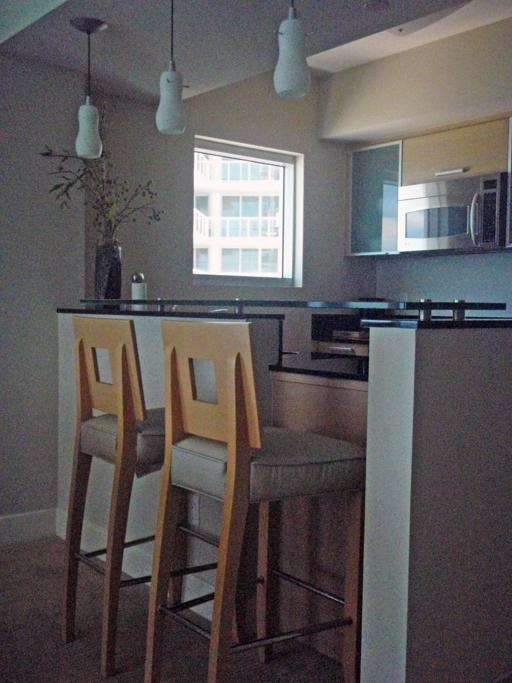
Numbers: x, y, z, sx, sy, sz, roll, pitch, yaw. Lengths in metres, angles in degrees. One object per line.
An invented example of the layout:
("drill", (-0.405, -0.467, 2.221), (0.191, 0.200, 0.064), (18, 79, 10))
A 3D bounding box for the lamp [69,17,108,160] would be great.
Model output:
("lamp", (-0.716, -1.053, 2.703), (0.143, 0.586, 0.437), (-1, 1, -14))

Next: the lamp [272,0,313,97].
("lamp", (0.103, -0.883, 1.833), (0.095, 0.354, 0.237), (0, 1, 2))

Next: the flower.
("flower", (-0.716, -0.642, 2.912), (0.482, 0.954, 0.964), (0, 1, -1))
